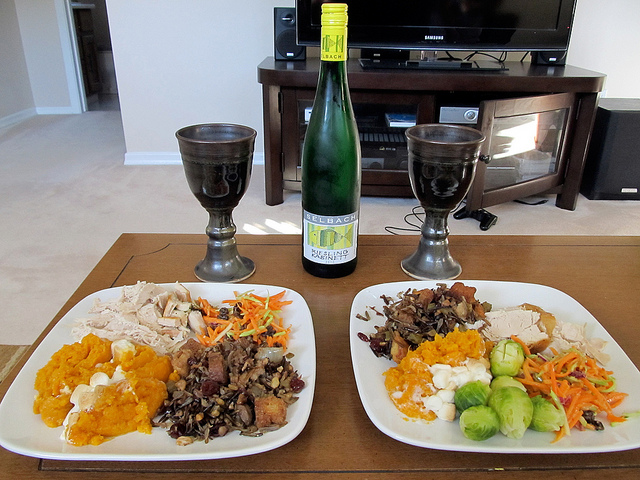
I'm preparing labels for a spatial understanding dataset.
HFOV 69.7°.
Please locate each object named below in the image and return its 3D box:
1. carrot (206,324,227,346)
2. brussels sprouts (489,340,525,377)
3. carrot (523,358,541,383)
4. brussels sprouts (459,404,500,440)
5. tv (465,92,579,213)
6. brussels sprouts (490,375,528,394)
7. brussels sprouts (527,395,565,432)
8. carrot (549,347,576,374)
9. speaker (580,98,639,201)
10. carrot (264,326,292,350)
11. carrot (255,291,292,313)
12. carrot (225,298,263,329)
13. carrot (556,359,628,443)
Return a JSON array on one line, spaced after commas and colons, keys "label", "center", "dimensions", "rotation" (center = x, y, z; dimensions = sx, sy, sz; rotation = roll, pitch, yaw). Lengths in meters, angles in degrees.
[{"label": "carrot", "center": [-0.170, 0.154, 0.751], "dimensions": [0.024, 0.011, 0.031], "rotation": [2, 55, 25]}, {"label": "brussels sprouts", "center": [0.272, 0.175, 0.672], "dimensions": [0.041, 0.029, 0.053], "rotation": [2, 45, 19]}, {"label": "carrot", "center": [0.314, 0.191, 0.672], "dimensions": [0.024, 0.009, 0.033], "rotation": [2, 48, 15]}, {"label": "brussels sprouts", "center": [0.211, 0.240, 0.606], "dimensions": [0.048, 0.028, 0.038], "rotation": [-2, 51, 24]}, {"label": "tv", "center": [1.032, -0.472, 2.332], "dimensions": [0.729, 0.608, 0.102], "rotation": [-15, 39, -13]}, {"label": "brussels sprouts", "center": [0.260, 0.199, 0.647], "dimensions": [0.031, 0.017, 0.024], "rotation": [10, -1, 16]}, {"label": "brussels sprouts", "center": [0.303, 0.232, 0.620], "dimensions": [0.047, 0.029, 0.036], "rotation": [23, 79, 16]}, {"label": "carrot", "center": [0.363, 0.179, 0.686], "dimensions": [0.028, 0.014, 0.035], "rotation": [7, 58, -9]}, {"label": "speaker", "center": [1.759, -0.493, 2.679], "dimensions": [0.351, 0.555, 0.189], "rotation": [2, 33, 5]}, {"label": "carrot", "center": [-0.068, 0.159, 0.745], "dimensions": [0.029, 0.029, 0.018], "rotation": [-27, 13, -29]}, {"label": "carrot", "center": [-0.082, 0.109, 0.817], "dimensions": [0.041, 0.013, 0.031], "rotation": [-20, 51, -22]}, {"label": "carrot", "center": [-0.124, 0.123, 0.778], "dimensions": [0.039, 0.014, 0.037], "rotation": [20, 15, -7]}, {"label": "carrot", "center": [0.375, 0.222, 0.645], "dimensions": [0.091, 0.025, 0.080], "rotation": [-12, 26, 6]}]
